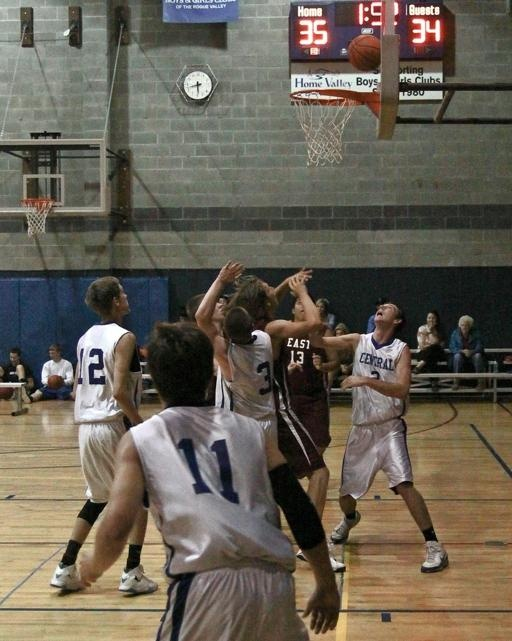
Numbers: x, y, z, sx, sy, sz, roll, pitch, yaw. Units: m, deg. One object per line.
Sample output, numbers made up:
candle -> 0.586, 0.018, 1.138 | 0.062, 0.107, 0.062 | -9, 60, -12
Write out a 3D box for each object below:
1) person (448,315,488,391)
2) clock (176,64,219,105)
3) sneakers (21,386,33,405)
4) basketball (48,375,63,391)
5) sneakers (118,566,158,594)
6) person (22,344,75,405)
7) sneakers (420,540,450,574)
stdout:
person -> 2.742, 0.331, 10.661 | 0.438, 0.738, 0.487 | 0, 4, 13
clock -> -0.859, -3.416, 11.796 | 0.668, 0.523, 0.144 | -2, 5, 8
sneakers -> -3.199, 1.065, 11.388 | 0.101, 0.225, 0.240 | -11, -9, -5
basketball -> -2.747, 0.861, 11.381 | 0.210, 0.219, 0.202 | -14, 18, -8
sneakers -> -0.629, 1.404, 4.405 | 0.271, 0.161, 0.093 | 5, -3, -28
person -> -2.747, 0.771, 11.308 | 0.628, 0.713, 0.805 | 2, 12, 6
sneakers -> 1.004, 1.347, 4.671 | 0.089, 0.143, 0.251 | -10, -3, 23
